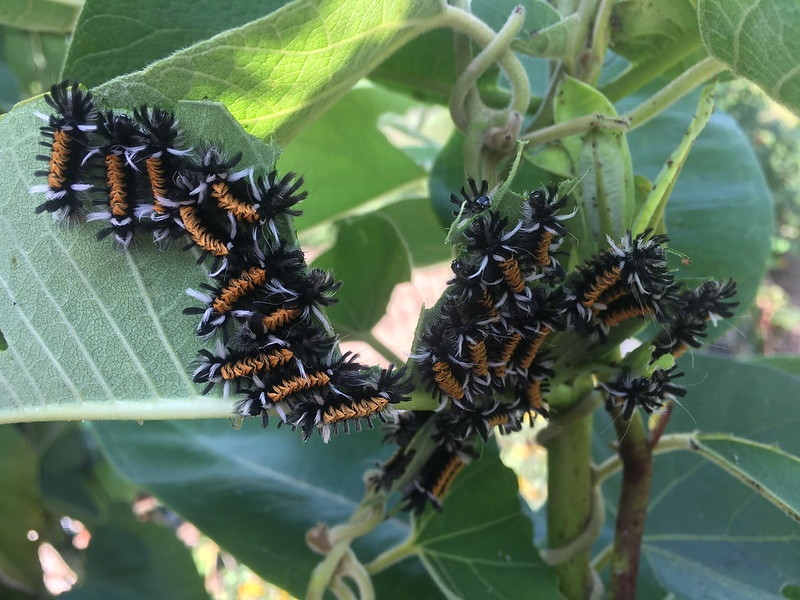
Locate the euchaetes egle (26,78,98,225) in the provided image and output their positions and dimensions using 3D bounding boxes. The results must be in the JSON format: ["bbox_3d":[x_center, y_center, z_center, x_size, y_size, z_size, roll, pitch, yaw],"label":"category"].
[{"bbox_3d":[-0.434,-0.192,1.123,0.092,0.180,0.037,9,20,8],"label":"euchaetes egle"}]
